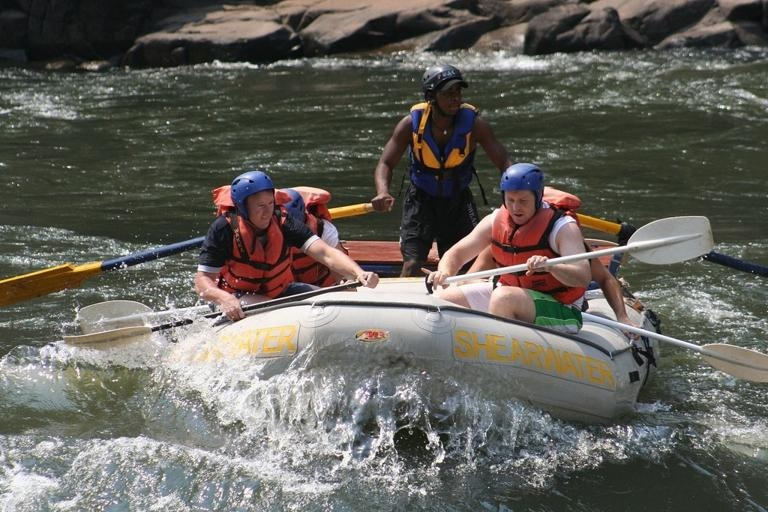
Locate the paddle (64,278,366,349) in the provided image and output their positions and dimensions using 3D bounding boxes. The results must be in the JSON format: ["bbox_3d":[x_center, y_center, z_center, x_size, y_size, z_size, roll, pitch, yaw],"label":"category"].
[{"bbox_3d":[-2.040,0.741,13.121,2.623,0.648,0.134,-9,42,13],"label":"paddle"}]

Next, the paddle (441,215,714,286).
[{"bbox_3d":[2.614,0.064,13.120,3.410,0.659,0.150,-10,-26,29],"label":"paddle"}]

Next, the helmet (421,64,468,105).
[{"bbox_3d":[0.750,-2.282,13.923,0.563,0.399,0.435,19,25,39],"label":"helmet"}]

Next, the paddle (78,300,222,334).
[{"bbox_3d":[-3.029,0.705,13.275,1.857,0.562,0.257,-5,11,2],"label":"paddle"}]

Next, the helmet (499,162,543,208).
[{"bbox_3d":[1.670,-0.907,12.823,0.470,0.513,0.483,-3,34,10],"label":"helmet"}]
